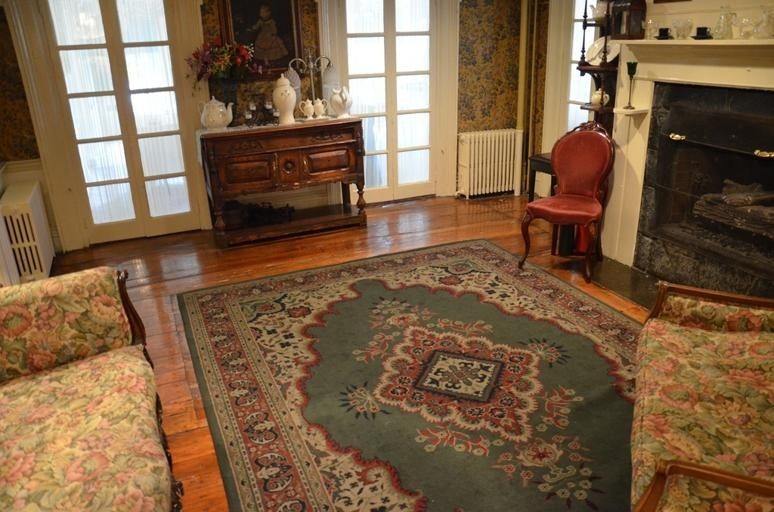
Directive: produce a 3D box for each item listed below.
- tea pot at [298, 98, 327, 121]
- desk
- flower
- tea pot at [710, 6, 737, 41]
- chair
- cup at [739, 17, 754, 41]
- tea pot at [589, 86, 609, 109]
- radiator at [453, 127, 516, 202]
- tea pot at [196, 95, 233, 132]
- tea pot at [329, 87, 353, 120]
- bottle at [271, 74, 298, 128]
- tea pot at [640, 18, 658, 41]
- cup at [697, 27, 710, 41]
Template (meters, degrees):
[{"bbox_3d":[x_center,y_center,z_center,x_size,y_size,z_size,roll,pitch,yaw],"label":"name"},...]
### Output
[{"bbox_3d":[-0.892,-1.727,6.271,0.349,0.231,0.121,-5,14,-22],"label":"tea pot"},{"bbox_3d":[-1.229,-0.842,6.100,1.497,0.908,0.567,-11,32,-17],"label":"desk"},{"bbox_3d":[-1.800,-2.143,5.904,0.824,0.479,0.320,-9,23,-13],"label":"flower"},{"bbox_3d":[2.681,-1.846,4.225,0.160,0.231,0.262,8,24,25],"label":"tea pot"},{"bbox_3d":[1.801,-0.571,5.159,0.800,1.310,0.804,15,27,40],"label":"chair"},{"bbox_3d":[2.762,-1.750,4.096,0.077,0.205,0.164,7,8,43],"label":"cup"},{"bbox_3d":[2.071,-1.561,5.239,0.215,0.161,0.161,-5,8,-36],"label":"tea pot"},{"bbox_3d":[1.353,-1.260,7.297,0.904,0.845,0.331,-10,22,-21],"label":"radiator"},{"bbox_3d":[-1.922,-1.609,5.964,0.407,0.343,0.307,0,26,0],"label":"tea pot"},{"bbox_3d":[-0.515,-1.785,6.199,0.334,0.394,0.359,0,13,0],"label":"tea pot"},{"bbox_3d":[-1.168,-1.777,6.051,0.259,0.524,0.311,-8,23,-10],"label":"bottle"},{"bbox_3d":[2.361,-2.050,4.787,0.113,0.178,0.195,-1,22,5],"label":"tea pot"},{"bbox_3d":[2.569,-1.809,4.330,0.104,0.110,0.129,-1,21,7],"label":"cup"}]
